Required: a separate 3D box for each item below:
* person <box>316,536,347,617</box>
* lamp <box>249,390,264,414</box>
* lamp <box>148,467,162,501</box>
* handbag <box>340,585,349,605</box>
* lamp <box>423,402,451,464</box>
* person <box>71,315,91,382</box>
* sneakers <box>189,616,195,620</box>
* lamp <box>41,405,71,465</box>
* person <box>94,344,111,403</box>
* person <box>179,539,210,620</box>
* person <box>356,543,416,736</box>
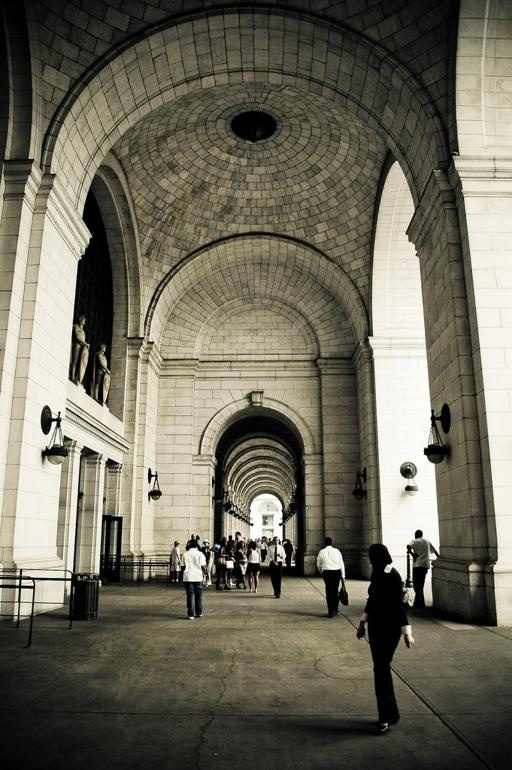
[{"bbox_3d":[1.395,3.528,10.677,0.455,1.319,1.841,-2,-15,7],"label":"person"},{"bbox_3d":[0.057,0.678,21.951,0.665,0.802,0.532,0,-18,4],"label":"lamp"},{"bbox_3d":[-3.501,3.490,19.899,0.519,1.085,1.102,2,-15,-10],"label":"lamp"},{"bbox_3d":[1.535,3.687,10.062,0.133,0.324,0.375,-1,-15,1],"label":"handbag"},{"bbox_3d":[3.298,0.907,10.465,0.468,0.994,0.927,-4,-15,15],"label":"lamp"},{"bbox_3d":[-4.244,-0.856,13.787,0.402,1.763,1.314,4,-15,-19],"label":"person"},{"bbox_3d":[-1.071,3.889,9.548,0.112,0.059,0.041,-4,-1,-7],"label":"sneakers"},{"bbox_3d":[-3.586,0.936,10.331,0.426,1.010,1.051,2,-15,-11],"label":"lamp"},{"bbox_3d":[-4.481,-0.266,16.540,0.309,1.863,0.729,0,-13,-3],"label":"person"},{"bbox_3d":[-1.082,3.333,9.925,0.352,1.313,0.862,1,-14,-5],"label":"person"},{"bbox_3d":[0.879,1.660,3.826,0.297,1.138,0.331,-4,-14,14],"label":"person"}]
